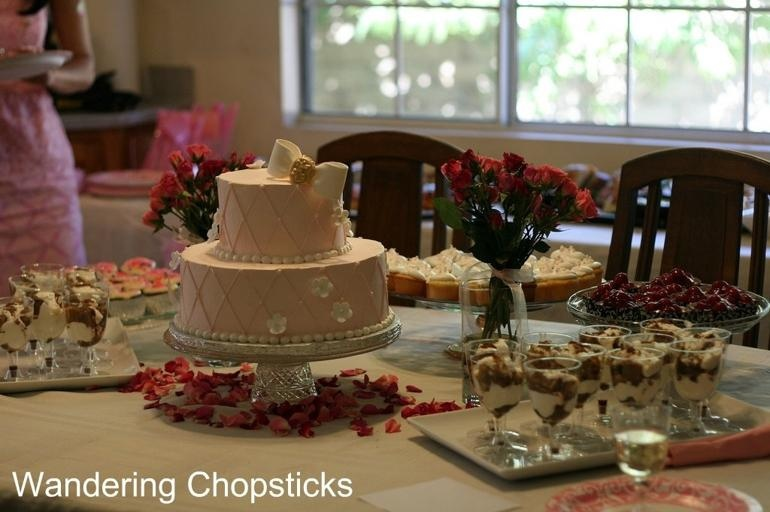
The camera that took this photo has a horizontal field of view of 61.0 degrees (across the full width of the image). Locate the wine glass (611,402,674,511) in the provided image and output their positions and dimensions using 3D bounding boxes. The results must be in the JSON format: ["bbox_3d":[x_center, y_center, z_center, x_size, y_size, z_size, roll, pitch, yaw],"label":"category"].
[{"bbox_3d":[0.464,0.359,1.204,0.090,0.232,0.236,5,13,21],"label":"wine glass"}]

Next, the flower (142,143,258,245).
[{"bbox_3d":[-0.554,-0.163,2.061,0.216,0.236,0.247,-10,-16,2],"label":"flower"}]
